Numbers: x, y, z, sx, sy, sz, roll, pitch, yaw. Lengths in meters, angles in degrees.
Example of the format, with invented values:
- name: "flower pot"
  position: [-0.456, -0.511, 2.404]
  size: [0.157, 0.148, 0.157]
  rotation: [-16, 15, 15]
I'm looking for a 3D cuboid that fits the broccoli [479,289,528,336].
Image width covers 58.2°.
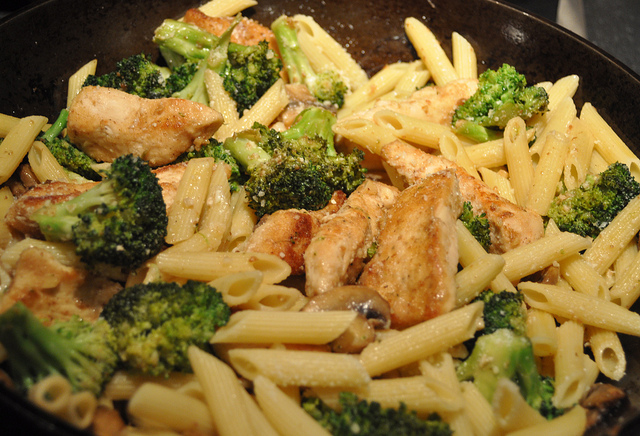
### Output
- name: "broccoli"
  position: [1.441, 0.736, 4.576]
  size: [0.314, 0.320, 0.389]
  rotation: [-4, 14, 13]

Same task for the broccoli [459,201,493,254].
- name: "broccoli"
  position: [1.372, 0.086, 5.025]
  size: [0.398, 0.303, 0.254]
  rotation: [34, 61, 13]

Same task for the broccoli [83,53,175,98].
- name: "broccoli"
  position: [-1.845, -1.392, 5.660]
  size: [0.784, 0.222, 0.387]
  rotation: [1, 59, -7]

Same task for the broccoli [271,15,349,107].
- name: "broccoli"
  position: [-0.119, -1.629, 6.304]
  size: [0.621, 0.480, 1.071]
  rotation: [-28, 84, 4]
